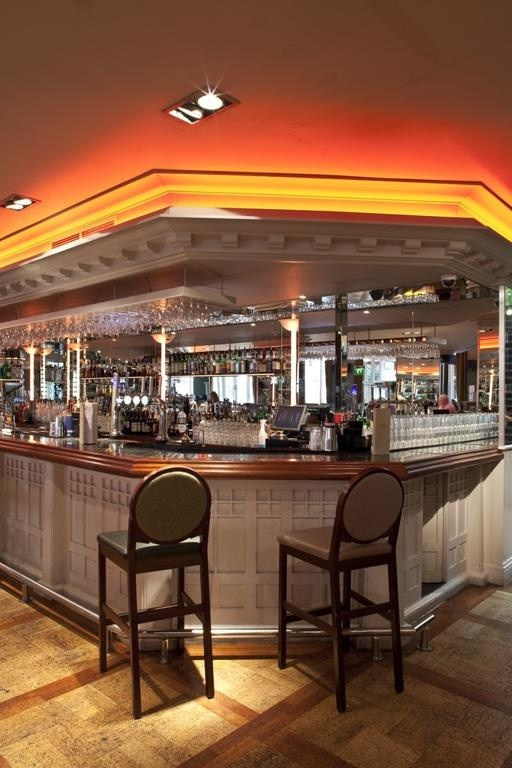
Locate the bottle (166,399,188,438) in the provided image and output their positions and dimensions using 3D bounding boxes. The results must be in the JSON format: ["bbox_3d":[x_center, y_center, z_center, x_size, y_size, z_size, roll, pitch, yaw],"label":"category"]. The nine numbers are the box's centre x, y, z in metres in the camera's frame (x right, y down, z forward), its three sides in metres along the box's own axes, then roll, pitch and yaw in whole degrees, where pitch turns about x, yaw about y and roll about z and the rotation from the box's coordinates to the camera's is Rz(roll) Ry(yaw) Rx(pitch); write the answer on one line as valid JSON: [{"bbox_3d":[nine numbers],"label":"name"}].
[{"bbox_3d":[-0.753,0.341,5.825,0.285,0.525,0.051,7,11,33],"label":"bottle"}]

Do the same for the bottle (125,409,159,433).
[{"bbox_3d":[-1.130,0.373,6.042,0.270,0.103,0.309,3,5,-2],"label":"bottle"}]

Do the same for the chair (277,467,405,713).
[{"bbox_3d":[0.425,0.925,3.012,0.616,1.108,0.694,0,1,-8],"label":"chair"}]

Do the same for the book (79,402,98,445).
[{"bbox_3d":[-1.188,0.280,4.352,0.113,0.290,0.139,0,1,-23],"label":"book"}]

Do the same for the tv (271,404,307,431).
[{"bbox_3d":[0.230,0.264,4.626,0.134,0.203,0.334,0,1,-43],"label":"tv"}]

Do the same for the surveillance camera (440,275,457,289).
[{"bbox_3d":[1.481,-0.792,4.734,0.078,0.080,0.049,7,-2,39],"label":"surveillance camera"}]
